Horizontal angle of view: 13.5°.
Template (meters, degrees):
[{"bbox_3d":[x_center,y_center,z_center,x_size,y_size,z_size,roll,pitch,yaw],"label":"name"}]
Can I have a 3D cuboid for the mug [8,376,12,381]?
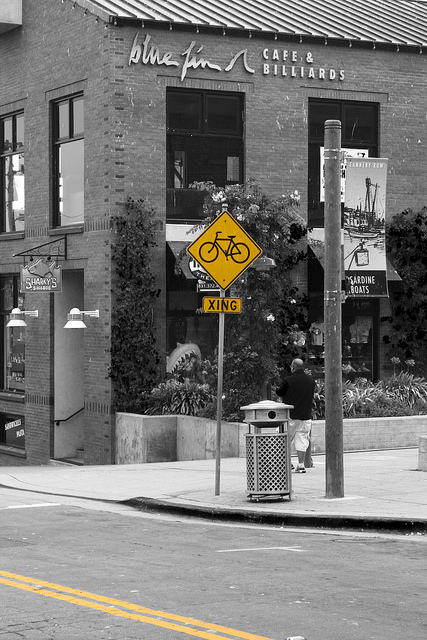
[{"bbox_3d":[-3.854,1.165,33.830,0.051,0.070,0.054,-1,1,-32],"label":"mug"}]

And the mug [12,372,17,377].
[{"bbox_3d":[-3.742,1.088,33.595,0.042,0.083,0.267,1,-2,-16],"label":"mug"}]

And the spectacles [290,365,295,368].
[{"bbox_3d":[1.131,0.709,25.707,0.079,0.026,0.083,3,-4,-27],"label":"spectacles"}]

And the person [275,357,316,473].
[{"bbox_3d":[1.120,1.329,24.137,0.463,1.534,0.958,0,-2,8],"label":"person"}]

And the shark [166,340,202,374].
[{"bbox_3d":[-0.492,0.658,29.916,0.733,0.542,0.126,2,-2,-40],"label":"shark"}]

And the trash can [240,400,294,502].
[{"bbox_3d":[0.633,1.638,21.651,0.505,1.322,0.526,1,-1,-23],"label":"trash can"}]
